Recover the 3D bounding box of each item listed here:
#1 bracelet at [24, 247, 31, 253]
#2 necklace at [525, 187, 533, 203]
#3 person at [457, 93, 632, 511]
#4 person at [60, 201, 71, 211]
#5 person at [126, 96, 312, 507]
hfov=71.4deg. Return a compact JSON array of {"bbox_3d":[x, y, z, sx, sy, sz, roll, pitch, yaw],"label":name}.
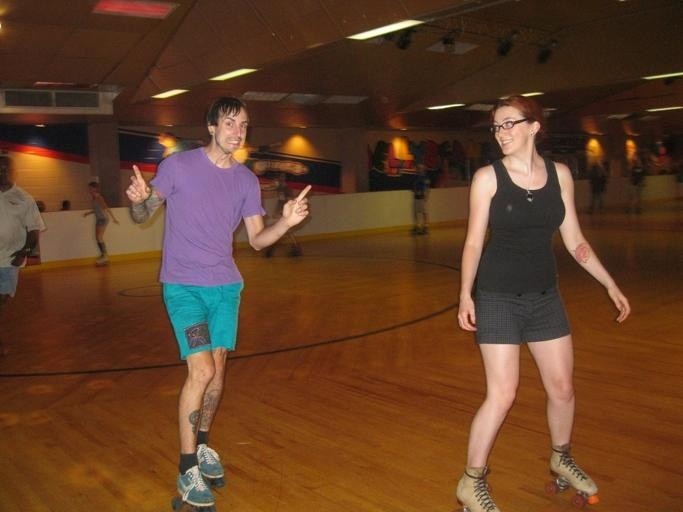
[{"bbox_3d":[-2.797,-0.052,4.220,0.044,0.042,0.016,-14,20,-41],"label":"bracelet"},{"bbox_3d":[0.748,-0.242,1.908,0.029,0.048,0.011,-9,2,-10],"label":"necklace"},{"bbox_3d":[0.805,0.236,2.055,0.739,1.823,0.344,-7,9,-26],"label":"person"},{"bbox_3d":[-8.122,-1.534,14.007,0.206,0.326,2.595,-7,9,-30],"label":"person"},{"bbox_3d":[-0.601,0.197,2.347,0.695,1.952,0.452,-8,10,-35],"label":"person"}]
